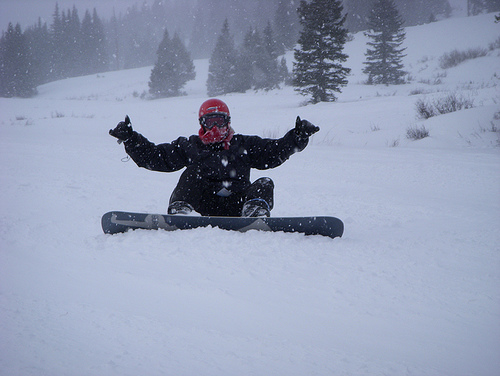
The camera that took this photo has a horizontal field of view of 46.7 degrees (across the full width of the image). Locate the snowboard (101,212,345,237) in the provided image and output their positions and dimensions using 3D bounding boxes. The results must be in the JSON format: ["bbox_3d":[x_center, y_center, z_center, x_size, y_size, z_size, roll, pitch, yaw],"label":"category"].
[{"bbox_3d":[-0.450,0.567,8.656,3.590,0.444,0.307,-2,11,1],"label":"snowboard"}]
